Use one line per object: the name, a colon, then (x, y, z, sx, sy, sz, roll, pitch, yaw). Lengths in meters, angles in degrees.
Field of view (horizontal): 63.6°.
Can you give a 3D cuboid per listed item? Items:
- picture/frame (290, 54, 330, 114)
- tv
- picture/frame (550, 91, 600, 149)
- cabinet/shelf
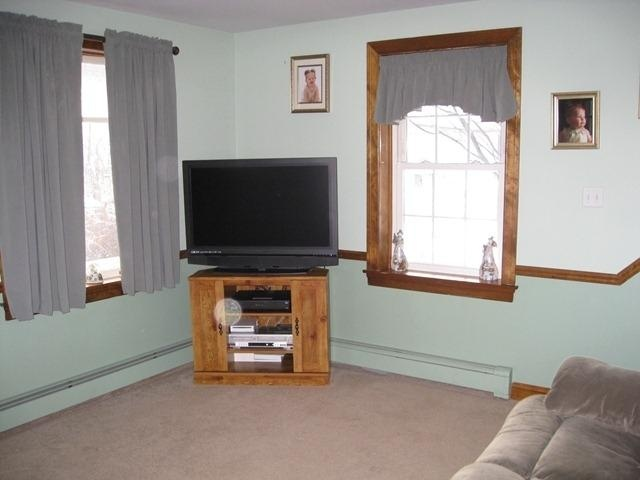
picture/frame: (-0.074, -1.390, 4.533, 0.487, 0.637, 0.044, 3, 9, 18)
tv: (-0.467, -0.224, 4.325, 0.920, 0.696, 0.095, 0, 10, 4)
picture/frame: (1.829, -0.867, 3.671, 0.377, 0.528, 0.050, 5, 13, 31)
cabinet/shelf: (-0.503, 0.735, 4.325, 0.892, 0.765, 0.334, 0, 4, 5)
